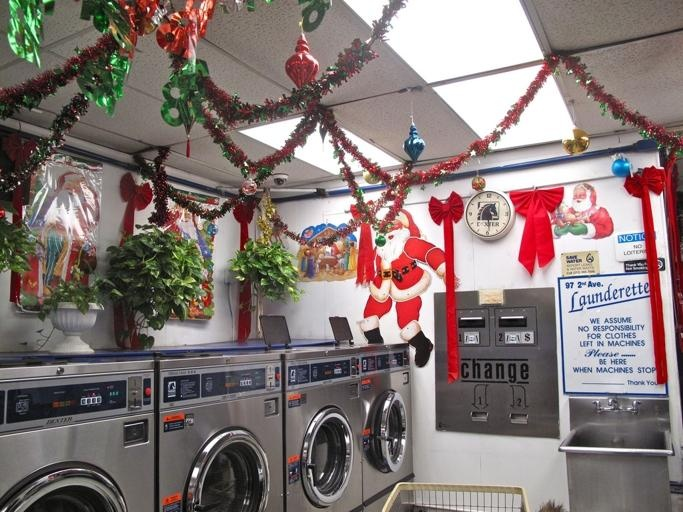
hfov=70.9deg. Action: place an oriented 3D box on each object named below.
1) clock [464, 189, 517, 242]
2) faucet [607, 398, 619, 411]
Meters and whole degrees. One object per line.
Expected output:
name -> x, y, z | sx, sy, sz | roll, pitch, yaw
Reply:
clock -> 1.419, -0.405, 4.645 | 0.430, 0.540, 0.086 | 2, -24, 18
faucet -> 2.261, 1.231, 3.988 | 0.110, 0.117, 0.052 | -7, -13, 30
